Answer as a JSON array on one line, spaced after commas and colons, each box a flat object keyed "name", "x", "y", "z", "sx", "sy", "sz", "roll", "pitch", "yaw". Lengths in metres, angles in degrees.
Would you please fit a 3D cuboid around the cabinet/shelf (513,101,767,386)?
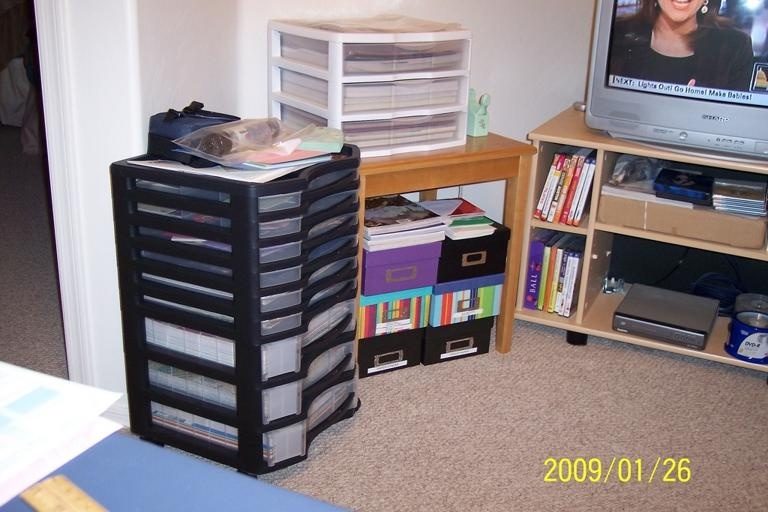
[{"name": "cabinet/shelf", "x": 1.026, "y": -0.042, "z": 2.699, "sx": 1.213, "sy": 0.840, "sz": 0.498, "roll": 14, "pitch": 32, "yaw": 15}]

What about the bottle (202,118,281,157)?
[{"name": "bottle", "x": -0.474, "y": -0.371, "z": 2.001, "sx": 0.169, "sy": 0.083, "sz": 0.048, "roll": 8, "pitch": 50, "yaw": -16}]

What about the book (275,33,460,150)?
[{"name": "book", "x": -0.095, "y": -0.643, "z": 2.529, "sx": 0.643, "sy": 0.365, "sz": 0.531, "roll": -12, "pitch": 26, "yaw": -32}]

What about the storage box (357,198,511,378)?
[{"name": "storage box", "x": 0.172, "y": 0.124, "z": 2.570, "sx": 0.747, "sy": 0.511, "sz": 0.385, "roll": -7, "pitch": 24, "yaw": -23}]

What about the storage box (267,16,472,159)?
[{"name": "storage box", "x": -0.061, "y": -0.655, "z": 2.553, "sx": 0.655, "sy": 0.352, "sz": 0.689, "roll": 20, "pitch": 27, "yaw": 35}]
